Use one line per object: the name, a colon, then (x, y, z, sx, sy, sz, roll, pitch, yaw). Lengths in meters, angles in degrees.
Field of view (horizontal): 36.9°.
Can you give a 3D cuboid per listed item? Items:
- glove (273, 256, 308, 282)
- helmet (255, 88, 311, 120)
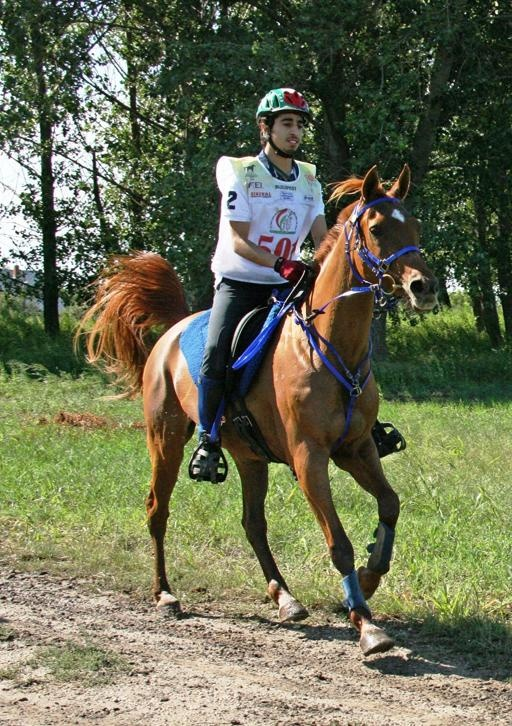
glove: (0.196, -0.518, 4.259, 0.131, 0.053, 0.165, -3, 22, -41)
helmet: (0.140, -1.530, 4.511, 0.200, 0.112, 0.277, 1, -3, -30)
